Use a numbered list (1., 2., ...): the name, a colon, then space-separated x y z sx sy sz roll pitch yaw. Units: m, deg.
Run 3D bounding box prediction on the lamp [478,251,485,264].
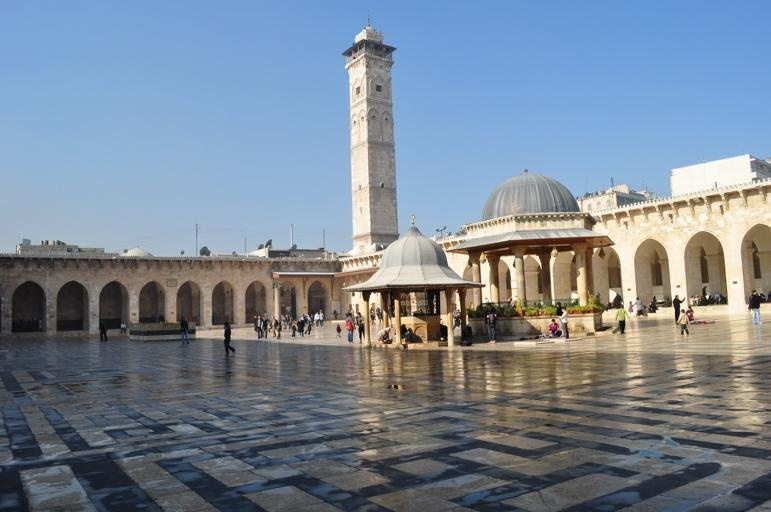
1. lamp: 4.465 0.062 29.577 0.442 0.535 0.410 -3 -7 8
